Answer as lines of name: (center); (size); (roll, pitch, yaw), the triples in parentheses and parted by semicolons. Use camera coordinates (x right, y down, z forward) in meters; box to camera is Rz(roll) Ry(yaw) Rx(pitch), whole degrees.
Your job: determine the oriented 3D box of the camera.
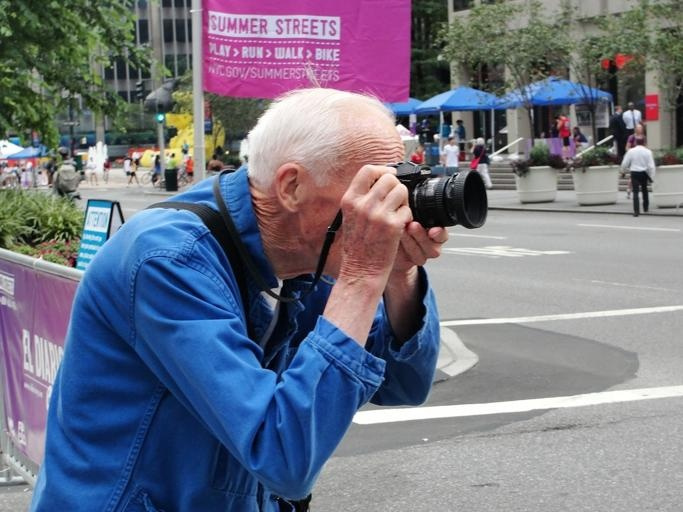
camera: (0.299, -0.171, 2.354); (0.210, 0.139, 0.194); (3, 9, 23)
